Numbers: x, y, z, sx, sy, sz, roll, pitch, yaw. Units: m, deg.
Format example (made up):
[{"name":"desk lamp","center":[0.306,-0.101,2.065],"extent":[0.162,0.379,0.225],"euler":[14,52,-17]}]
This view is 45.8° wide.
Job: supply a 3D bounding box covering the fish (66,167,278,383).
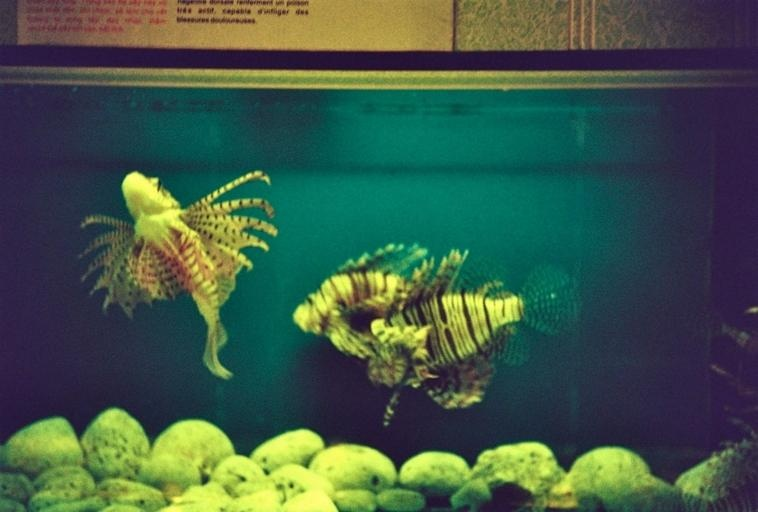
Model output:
[{"name":"fish","center":[-0.872,0.087,3.914],"extent":[0.846,0.899,0.082],"euler":[-1,-2,5]}]
